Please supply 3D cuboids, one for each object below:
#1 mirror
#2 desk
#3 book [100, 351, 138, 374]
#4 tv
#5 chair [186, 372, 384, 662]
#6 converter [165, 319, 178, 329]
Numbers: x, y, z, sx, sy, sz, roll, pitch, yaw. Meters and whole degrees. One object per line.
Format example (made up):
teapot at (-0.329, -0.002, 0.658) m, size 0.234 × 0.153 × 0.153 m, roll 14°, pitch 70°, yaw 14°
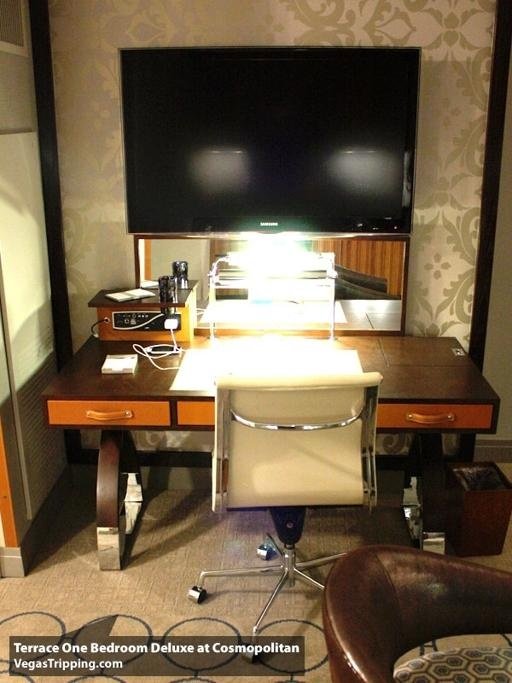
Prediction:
mirror at (0.066, -0.230, 2.286) m, size 1.083 × 0.530 × 0.135 m, roll 1°, pitch -18°, yaw 3°
desk at (0.035, 0.599, 2.233) m, size 1.783 × 0.874 × 0.751 m, roll 0°, pitch 38°, yaw 0°
book at (-0.469, 0.075, 1.890) m, size 0.082 × 0.020 × 0.079 m, roll 0°, pitch 26°, yaw -4°
tv at (0.058, -0.730, 2.037) m, size 1.075 × 0.708 × 0.018 m, roll 1°, pitch 37°, yaw 3°
chair at (0.085, 0.440, 1.665) m, size 0.554 × 0.835 × 0.587 m, roll 1°, pitch 13°, yaw 8°
converter at (-0.333, -0.066, 2.155) m, size 0.045 × 0.043 × 0.011 m, roll -2°, pitch 7°, yaw -12°
